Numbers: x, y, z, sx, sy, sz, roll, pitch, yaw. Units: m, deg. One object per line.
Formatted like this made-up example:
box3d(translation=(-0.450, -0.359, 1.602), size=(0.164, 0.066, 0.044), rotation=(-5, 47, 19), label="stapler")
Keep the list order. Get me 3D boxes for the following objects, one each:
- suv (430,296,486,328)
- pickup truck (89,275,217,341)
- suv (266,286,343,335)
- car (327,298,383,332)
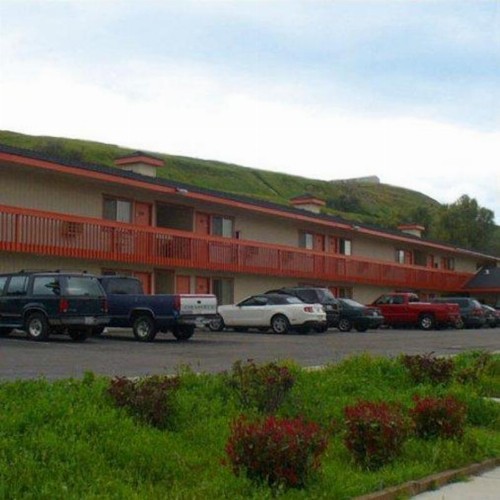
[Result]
box3d(translation=(10.033, 3.051, 40.027), size=(2.678, 1.232, 1.341), rotation=(0, -3, 24), label="suv")
box3d(translation=(-2.739, 1.435, 21.800), size=(3.263, 1.396, 1.547), rotation=(2, -2, 40), label="pickup truck")
box3d(translation=(2.529, 2.194, 30.788), size=(2.775, 1.290, 1.354), rotation=(1, -1, 37), label="suv")
box3d(translation=(4.036, 2.568, 31.695), size=(2.122, 0.839, 0.931), rotation=(1, -1, 39), label="car")
